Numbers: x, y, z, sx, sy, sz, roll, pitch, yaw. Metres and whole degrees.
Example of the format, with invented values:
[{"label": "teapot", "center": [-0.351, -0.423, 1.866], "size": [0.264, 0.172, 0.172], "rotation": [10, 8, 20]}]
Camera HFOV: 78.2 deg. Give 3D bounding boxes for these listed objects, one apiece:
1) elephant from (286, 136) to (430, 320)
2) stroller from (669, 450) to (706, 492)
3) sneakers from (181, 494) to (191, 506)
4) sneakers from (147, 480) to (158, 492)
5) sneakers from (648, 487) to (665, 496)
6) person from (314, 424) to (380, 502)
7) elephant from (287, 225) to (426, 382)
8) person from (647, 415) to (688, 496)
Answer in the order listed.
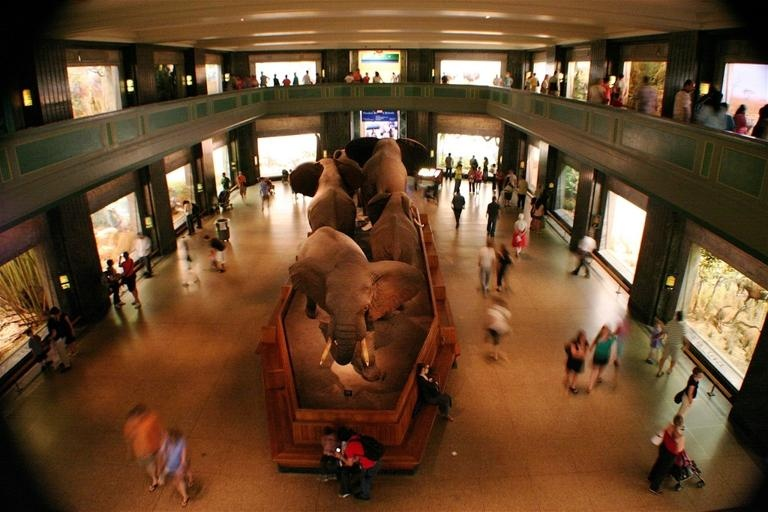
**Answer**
[{"label": "elephant", "center": [-0.634, -1.193, 13.947], "size": [3.436, 3.167, 5.721], "rotation": [1, 29, 3]}, {"label": "stroller", "center": [6.106, 4.308, 9.802], "size": [0.485, 0.821, 0.406], "rotation": [-20, 8, 16]}, {"label": "sneakers", "center": [-3.986, 4.946, 9.552], "size": [0.116, 0.079, 0.223], "rotation": [2, 13, -3]}, {"label": "sneakers", "center": [-4.755, 4.779, 9.775], "size": [0.114, 0.119, 0.309], "rotation": [7, 11, -12]}, {"label": "sneakers", "center": [5.517, 4.786, 9.635], "size": [0.305, 0.128, 0.109], "rotation": [0, 31, 7]}, {"label": "person", "center": [-0.704, 4.220, 9.567], "size": [1.204, 1.465, 0.615], "rotation": [7, 37, -4]}, {"label": "elephant", "center": [-0.878, 0.868, 11.152], "size": [2.930, 2.624, 4.136], "rotation": [-3, 29, -18]}, {"label": "person", "center": [5.720, 3.931, 9.555], "size": [0.784, 1.677, 0.474], "rotation": [-12, 23, -26]}]
